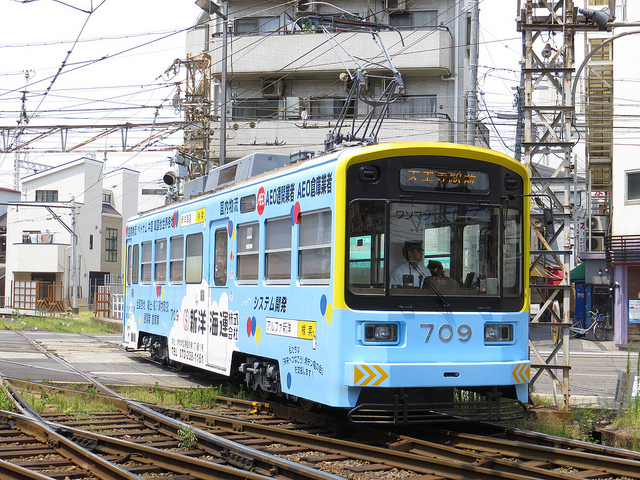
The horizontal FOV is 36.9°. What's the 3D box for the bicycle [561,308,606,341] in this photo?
[{"bbox_3d":[10.922,3.345,38.634,0.773,1.143,1.739,4,-2,-21],"label":"bicycle"}]
